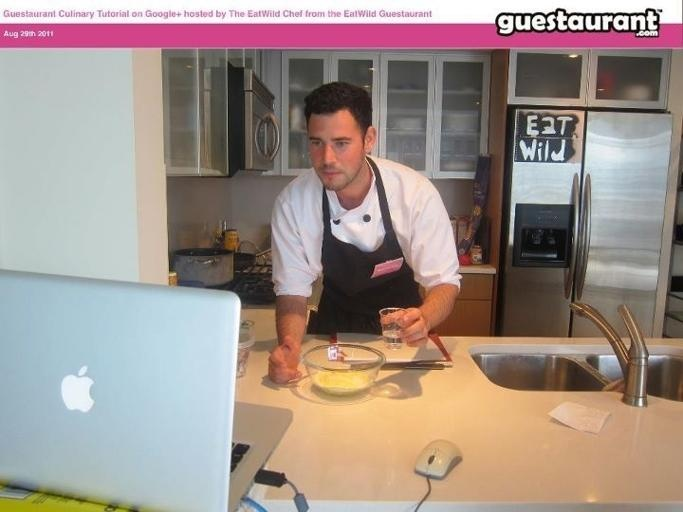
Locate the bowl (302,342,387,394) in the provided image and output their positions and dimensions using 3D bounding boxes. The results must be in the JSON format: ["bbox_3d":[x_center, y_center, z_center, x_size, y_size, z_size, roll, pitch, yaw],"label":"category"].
[{"bbox_3d":[0.003,0.337,1.654,0.227,0.091,0.218,1,14,0],"label":"bowl"}]

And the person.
[{"bbox_3d":[0.045,-0.087,2.014,0.771,1.047,0.868,4,15,12],"label":"person"}]

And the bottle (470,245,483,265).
[{"bbox_3d":[0.937,-0.006,3.841,0.091,0.118,0.088,1,14,0],"label":"bottle"}]

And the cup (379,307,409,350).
[{"bbox_3d":[0.146,0.226,1.695,0.110,0.119,0.111,0,2,0],"label":"cup"}]

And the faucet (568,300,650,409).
[{"bbox_3d":[0.803,0.265,1.657,0.190,0.257,0.274,4,14,10],"label":"faucet"}]

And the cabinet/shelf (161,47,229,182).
[{"bbox_3d":[-0.716,-0.649,2.489,0.300,0.478,0.321,20,29,24],"label":"cabinet/shelf"}]

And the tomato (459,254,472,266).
[{"bbox_3d":[0.857,0.032,3.891,0.105,0.097,0.104,0,0,0],"label":"tomato"}]

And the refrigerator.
[{"bbox_3d":[1.615,-0.189,3.563,1.078,1.455,0.347,0,15,-3],"label":"refrigerator"}]

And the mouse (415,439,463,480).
[{"bbox_3d":[0.221,0.460,1.272,0.078,0.046,0.130,6,9,28],"label":"mouse"}]

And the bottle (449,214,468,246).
[{"bbox_3d":[0.827,-0.195,4.091,0.150,0.172,0.452,2,15,9],"label":"bottle"}]

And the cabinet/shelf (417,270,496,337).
[{"bbox_3d":[0.844,0.398,3.912,0.489,0.548,0.463,-5,-6,-4],"label":"cabinet/shelf"}]
